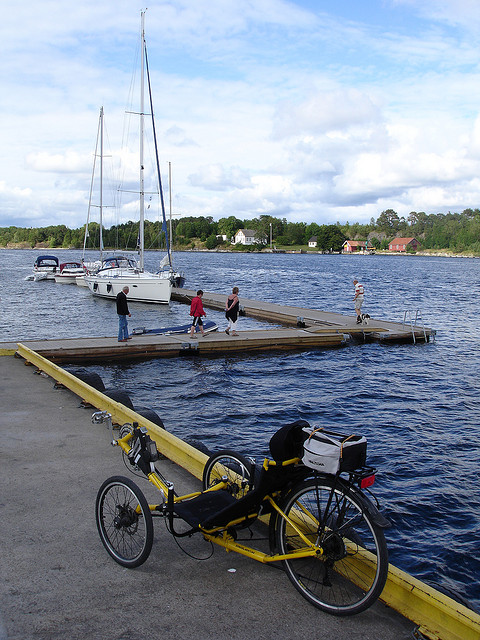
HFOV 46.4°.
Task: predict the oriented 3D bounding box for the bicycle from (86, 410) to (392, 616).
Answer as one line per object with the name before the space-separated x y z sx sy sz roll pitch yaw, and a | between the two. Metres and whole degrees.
bicycle | -0.004 1.250 3.535 1.924 0.704 1.066 4 5 38

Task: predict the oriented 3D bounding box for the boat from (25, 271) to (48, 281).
boat | -19.134 -4.260 52.841 2.336 0.954 0.692 7 4 35

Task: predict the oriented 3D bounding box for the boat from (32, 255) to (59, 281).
boat | -18.597 -4.800 53.677 2.429 2.328 4.851 -2 15 -18

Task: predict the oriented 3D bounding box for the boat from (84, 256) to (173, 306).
boat | -6.447 -2.173 32.853 2.977 2.556 7.411 -12 13 -39

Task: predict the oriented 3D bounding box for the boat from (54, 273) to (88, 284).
boat | -14.086 -3.583 46.903 2.319 0.432 1.321 -6 9 -30
